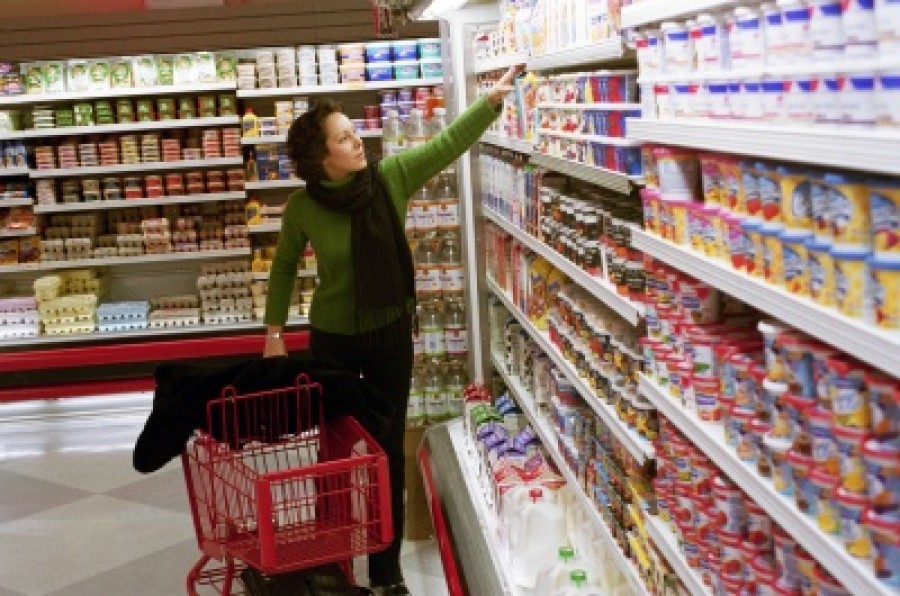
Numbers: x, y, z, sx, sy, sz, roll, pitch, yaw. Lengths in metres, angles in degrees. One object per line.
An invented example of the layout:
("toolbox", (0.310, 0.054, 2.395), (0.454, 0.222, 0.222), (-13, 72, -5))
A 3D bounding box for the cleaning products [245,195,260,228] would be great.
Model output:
("cleaning products", (-1.592, -0.703, 5.425), (0.122, 0.214, 0.159), (-11, 17, -30))

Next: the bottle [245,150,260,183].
("bottle", (-1.599, -1.068, 5.381), (0.114, 0.228, 0.254), (-6, 15, -15))

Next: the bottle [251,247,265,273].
("bottle", (-1.583, -0.325, 5.528), (0.122, 0.188, 0.197), (-6, 15, -16))
